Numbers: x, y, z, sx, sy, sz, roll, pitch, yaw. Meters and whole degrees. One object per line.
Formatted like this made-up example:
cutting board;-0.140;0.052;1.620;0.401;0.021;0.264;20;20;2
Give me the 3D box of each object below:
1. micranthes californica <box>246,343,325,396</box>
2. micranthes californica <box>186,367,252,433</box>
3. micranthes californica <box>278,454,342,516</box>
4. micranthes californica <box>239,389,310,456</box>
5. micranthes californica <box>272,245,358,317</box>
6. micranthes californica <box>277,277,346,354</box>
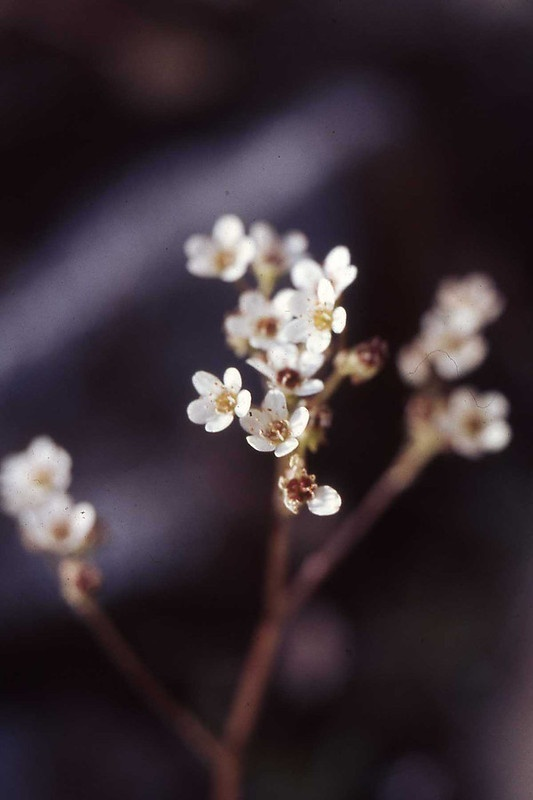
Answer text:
micranthes californica;0.034;-0.033;0.828;0.079;0.081;0.032;-29;87;0
micranthes californica;-0.044;-0.004;0.794;0.059;0.050;0.058;-4;67;0
micranthes californica;0.041;0.076;0.807;0.054;0.025;0.061;-33;90;-5
micranthes californica;0.009;0.023;0.774;0.054;0.033;0.051;-40;71;-15
micranthes californica;0.040;-0.100;0.795;0.075;0.017;0.063;0;72;26
micranthes californica;0.043;-0.080;0.801;0.056;0.043;0.066;-2;66;0
